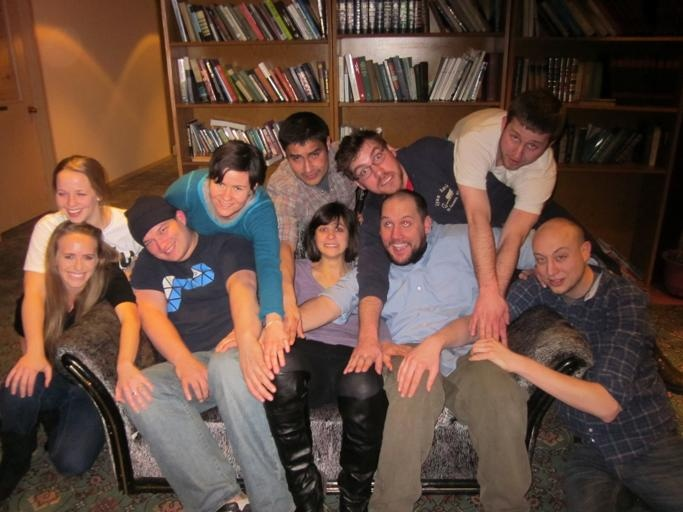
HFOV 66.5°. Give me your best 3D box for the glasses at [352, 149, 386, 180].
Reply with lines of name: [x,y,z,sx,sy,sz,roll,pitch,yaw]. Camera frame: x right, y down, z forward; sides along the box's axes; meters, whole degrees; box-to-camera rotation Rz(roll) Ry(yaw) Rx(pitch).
glasses: [0.155,-0.524,2.871,0.247,0.068,0.229,-30,18,7]

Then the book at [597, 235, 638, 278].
book: [1.821,0.002,3.397,0.450,0.117,0.118,25,52,-18]

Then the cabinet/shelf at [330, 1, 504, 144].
cabinet/shelf: [0.585,-1.456,3.984,1.264,1.112,0.419,-1,20,-1]

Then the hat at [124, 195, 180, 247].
hat: [-0.939,-0.194,2.517,0.244,0.224,0.180,-25,6,-22]

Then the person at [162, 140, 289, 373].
person: [-0.485,-0.091,2.394,0.478,0.652,1.011,-6,29,-21]

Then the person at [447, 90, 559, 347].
person: [0.807,-0.186,2.656,0.510,1.233,0.490,8,-14,6]
